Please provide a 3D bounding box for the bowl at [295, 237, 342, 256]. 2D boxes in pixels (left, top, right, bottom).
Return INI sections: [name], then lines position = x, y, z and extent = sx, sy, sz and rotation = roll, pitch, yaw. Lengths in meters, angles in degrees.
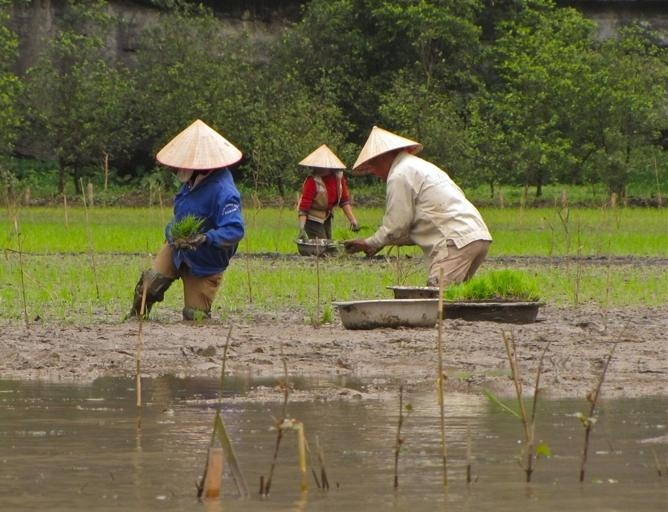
[bowl]
position = -0.548, -0.264, 44.677
extent = 0.796, 0.326, 0.719
rotation = -6, -5, 32
